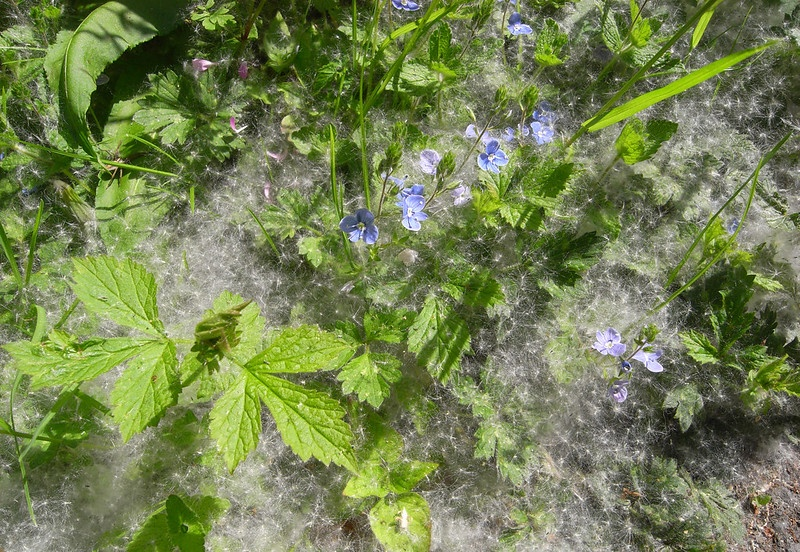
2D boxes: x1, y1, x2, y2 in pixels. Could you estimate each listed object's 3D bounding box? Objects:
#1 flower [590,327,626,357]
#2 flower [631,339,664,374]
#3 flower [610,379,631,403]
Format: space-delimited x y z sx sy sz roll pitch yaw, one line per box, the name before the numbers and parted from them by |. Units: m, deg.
flower | 1.680 0.560 5.384 0.214 0.126 0.242 -14 60 -5
flower | 2.000 0.672 5.393 0.242 0.109 0.286 -50 127 -18
flower | 1.778 0.947 5.364 0.061 0.161 0.173 13 46 -23
